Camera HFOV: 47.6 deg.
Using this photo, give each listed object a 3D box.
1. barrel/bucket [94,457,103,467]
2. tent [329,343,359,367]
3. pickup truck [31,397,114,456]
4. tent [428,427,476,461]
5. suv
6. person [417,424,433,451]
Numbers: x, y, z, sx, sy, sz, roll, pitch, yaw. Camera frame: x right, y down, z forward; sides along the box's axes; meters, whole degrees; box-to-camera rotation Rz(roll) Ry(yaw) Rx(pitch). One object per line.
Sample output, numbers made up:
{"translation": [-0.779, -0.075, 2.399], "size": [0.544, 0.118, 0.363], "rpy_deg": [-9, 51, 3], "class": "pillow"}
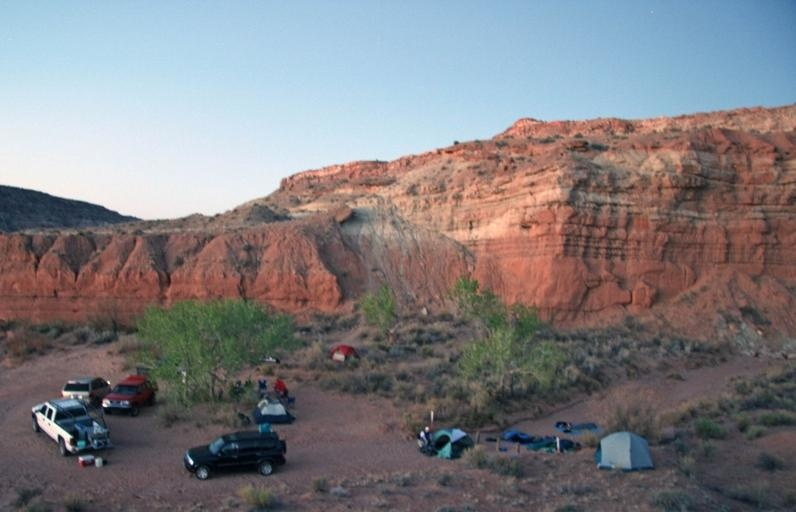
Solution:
{"translation": [-20.002, 13.759, 60.565], "size": [0.503, 0.543, 0.518], "rpy_deg": [3, 11, -1], "class": "barrel/bucket"}
{"translation": [-4.151, 7.867, 72.775], "size": [1.627, 0.658, 1.547], "rpy_deg": [4, 8, 23], "class": "tent"}
{"translation": [-22.309, 11.648, 61.917], "size": [5.449, 3.712, 1.870], "rpy_deg": [-4, -4, 21], "class": "pickup truck"}
{"translation": [3.634, 13.007, 62.584], "size": [1.791, 0.957, 2.359], "rpy_deg": [-2, -2, 43], "class": "tent"}
{"translation": [-10.935, 13.437, 61.270], "size": [6.141, 2.802, 3.052], "rpy_deg": [4, 5, -10], "class": "suv"}
{"translation": [1.929, 12.759, 63.398], "size": [0.584, 1.047, 1.766], "rpy_deg": [3, 0, -7], "class": "person"}
